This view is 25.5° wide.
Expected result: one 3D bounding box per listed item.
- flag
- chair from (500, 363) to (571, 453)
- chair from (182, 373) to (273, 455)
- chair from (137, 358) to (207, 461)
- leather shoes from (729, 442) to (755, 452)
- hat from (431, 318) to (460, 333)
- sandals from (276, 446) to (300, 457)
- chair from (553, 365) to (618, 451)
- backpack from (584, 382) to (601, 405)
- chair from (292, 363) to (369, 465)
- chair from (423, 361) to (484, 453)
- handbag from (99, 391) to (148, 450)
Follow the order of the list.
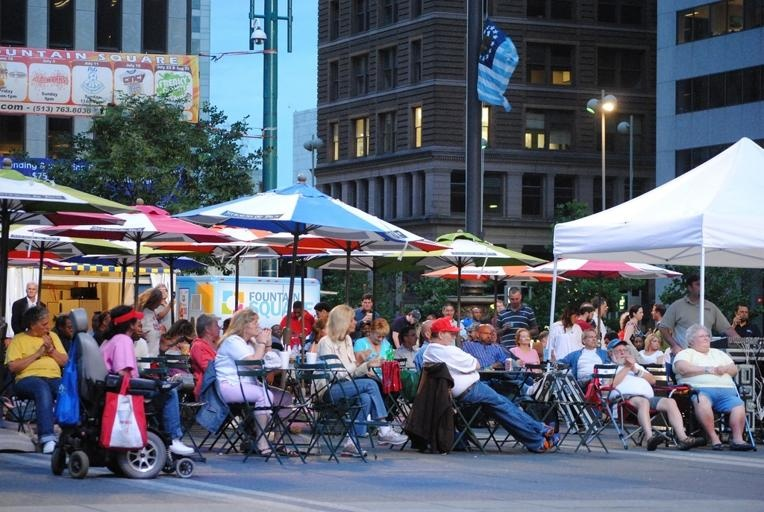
[{"bbox_3d":[3.000,-4.896,43.577,1.049,2.499,0.944,-1,-3,9],"label":"flag"},{"bbox_3d":[3.282,3.343,36.037,1.517,1.938,2.020,-3,-2,21],"label":"chair"},{"bbox_3d":[-3.030,3.076,33.287,1.738,2.228,1.535,0,-2,-4],"label":"chair"},{"bbox_3d":[-4.129,2.995,32.736,0.978,1.910,2.796,-2,-1,1],"label":"chair"},{"bbox_3d":[7.446,3.977,34.756,0.524,0.181,0.184,0,-3,-5],"label":"leather shoes"},{"bbox_3d":[1.294,1.448,34.349,0.449,0.222,0.321,3,2,-24],"label":"hat"},{"bbox_3d":[-1.870,3.950,33.746,0.502,0.187,0.190,-1,1,7],"label":"sandals"},{"bbox_3d":[4.335,3.368,35.703,1.514,1.872,1.588,-9,8,-4],"label":"chair"},{"bbox_3d":[4.464,2.940,35.468,0.298,0.436,0.110,0,-2,5],"label":"backpack"},{"bbox_3d":[-1.020,3.179,33.902,1.029,1.916,3.027,-1,-1,-2],"label":"chair"},{"bbox_3d":[1.275,3.121,34.273,1.260,1.881,0.617,-2,9,-19],"label":"chair"},{"bbox_3d":[-4.840,3.093,31.346,0.828,1.035,0.294,0,9,-8],"label":"handbag"}]
